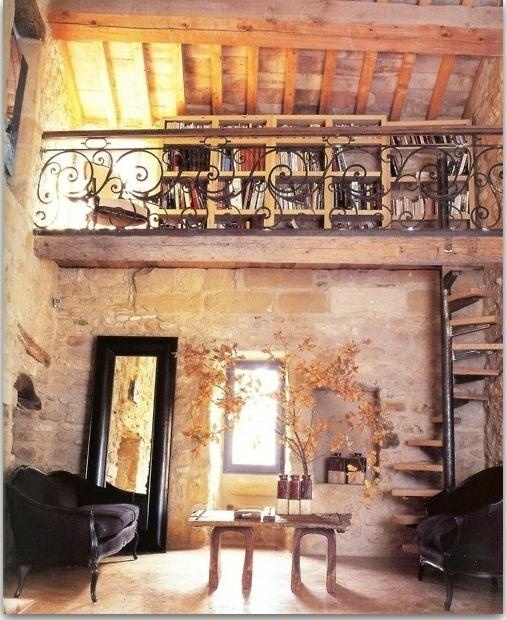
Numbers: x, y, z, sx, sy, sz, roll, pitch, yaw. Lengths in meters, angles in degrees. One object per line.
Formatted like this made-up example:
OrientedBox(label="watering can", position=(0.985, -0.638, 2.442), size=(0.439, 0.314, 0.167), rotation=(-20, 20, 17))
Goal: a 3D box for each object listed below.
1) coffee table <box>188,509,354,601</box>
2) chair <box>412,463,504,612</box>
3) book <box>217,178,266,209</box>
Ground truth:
OrientedBox(label="coffee table", position=(0.117, 1.611, 4.018), size=(1.027, 0.453, 0.476), rotation=(0, -11, 3))
OrientedBox(label="chair", position=(1.381, 1.461, 3.991), size=(0.577, 0.798, 0.874), rotation=(-1, -10, 13))
OrientedBox(label="book", position=(-0.096, -1.020, 5.368), size=(0.500, 0.408, 0.251), rotation=(0, -12, 0))
